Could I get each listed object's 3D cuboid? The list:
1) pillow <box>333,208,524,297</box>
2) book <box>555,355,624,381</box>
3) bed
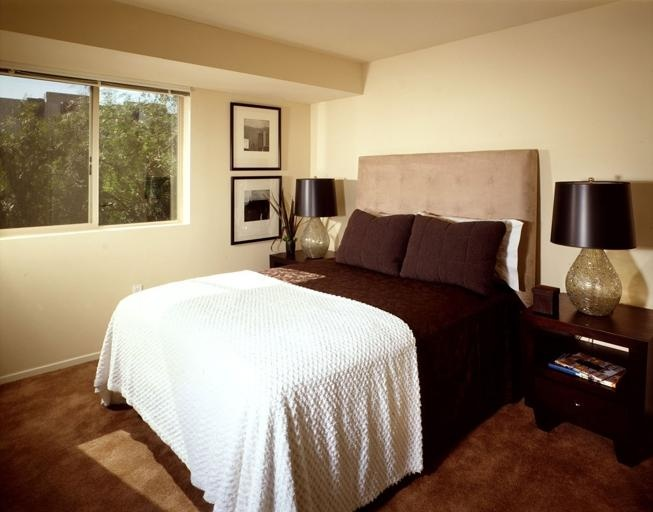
[{"bbox_3d":[0.689,-0.077,3.612,1.287,0.488,0.321,12,15,38],"label":"pillow"},{"bbox_3d":[1.650,0.696,2.925,0.182,0.043,0.182,-6,12,-25],"label":"book"},{"bbox_3d":[0.059,0.434,3.010,1.062,1.586,2.023,-1,3,-41],"label":"bed"}]
